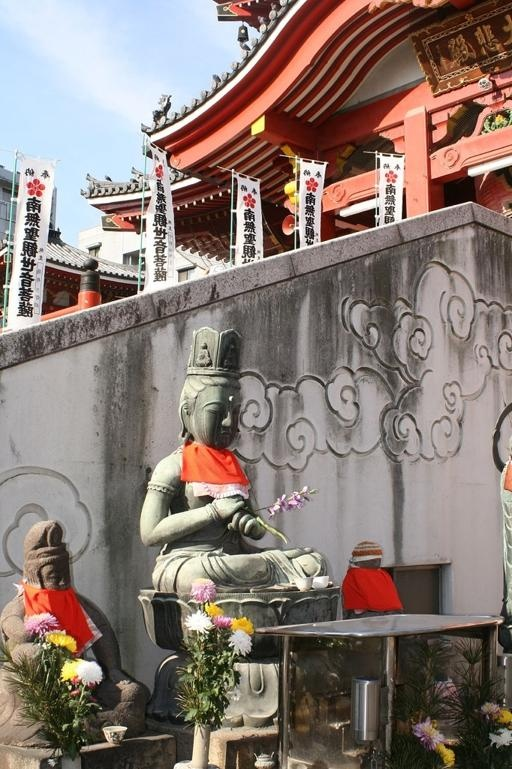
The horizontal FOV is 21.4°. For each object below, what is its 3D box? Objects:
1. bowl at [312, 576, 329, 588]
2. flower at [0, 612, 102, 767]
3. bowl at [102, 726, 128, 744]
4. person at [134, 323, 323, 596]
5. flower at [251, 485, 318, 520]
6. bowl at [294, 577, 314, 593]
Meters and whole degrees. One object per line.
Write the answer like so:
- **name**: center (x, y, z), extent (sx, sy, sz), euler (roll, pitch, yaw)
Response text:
- **bowl**: center (0.342, 1.024, 6.987), extent (0.057, 0.037, 0.065), euler (-1, -22, 2)
- **flower**: center (-0.935, 1.388, 6.166), extent (0.422, 0.675, 0.605), euler (2, -8, -11)
- **bowl**: center (-0.684, 1.694, 6.557), extent (0.083, 0.055, 0.083), euler (1, -15, 0)
- **person**: center (-0.153, 0.397, 7.110), extent (0.871, 1.410, 0.551), euler (1, -7, -5)
- **flower**: center (0.187, 0.619, 7.456), extent (0.385, 0.159, 0.181), euler (-12, -28, 0)
- **bowl**: center (0.253, 1.021, 6.915), extent (0.089, 0.072, 0.087), euler (1, -8, 0)
